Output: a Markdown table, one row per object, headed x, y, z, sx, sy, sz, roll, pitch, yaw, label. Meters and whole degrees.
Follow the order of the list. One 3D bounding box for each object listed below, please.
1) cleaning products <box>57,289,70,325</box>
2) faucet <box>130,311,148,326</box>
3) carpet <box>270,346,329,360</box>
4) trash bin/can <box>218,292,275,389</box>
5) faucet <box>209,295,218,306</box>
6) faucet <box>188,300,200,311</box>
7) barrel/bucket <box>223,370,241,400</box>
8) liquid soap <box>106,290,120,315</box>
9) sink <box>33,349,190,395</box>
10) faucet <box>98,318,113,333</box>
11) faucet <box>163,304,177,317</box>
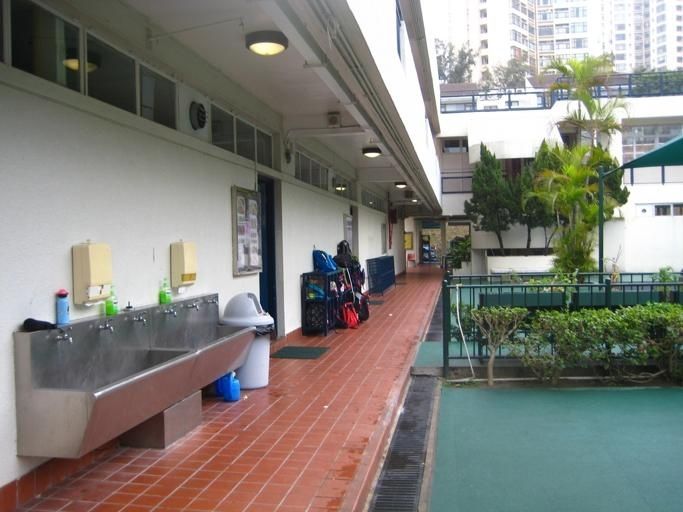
| x | y | z | sx | sy | sz | roll | pitch | yaw | label |
| --- | --- | --- | --- | --- | --- | --- | --- | --- | --- |
| -2.289 | 0.419 | 4.632 | 0.108 | 0.279 | 0.135 | -5 | 9 | -37 | cleaning products |
| -1.927 | 0.608 | 5.404 | 0.040 | 0.152 | 0.200 | 2 | 7 | 16 | faucet |
| -0.635 | 1.440 | 8.411 | 0.781 | 0.048 | 0.810 | 1 | 7 | 9 | carpet |
| -1.103 | 1.001 | 6.787 | 0.568 | 1.128 | 0.670 | 4 | 5 | -1 | trash bin/can |
| -1.492 | 0.513 | 6.591 | 0.024 | 0.096 | 0.095 | -3 | -3 | 25 | faucet |
| -1.613 | 0.564 | 6.184 | 0.071 | 0.114 | 0.214 | 1 | 7 | 7 | faucet |
| -1.226 | 1.467 | 6.379 | 0.212 | 0.321 | 0.172 | -4 | 8 | -29 | barrel/bucket |
| -2.076 | 0.422 | 5.108 | 0.071 | 0.218 | 0.194 | 1 | 7 | 7 | liquid soap |
| -2.058 | 0.957 | 4.948 | 0.806 | 0.305 | 0.715 | 9 | 1 | 3 | sink |
| -2.076 | 0.620 | 4.979 | 0.045 | 0.056 | 0.129 | 2 | 1 | 33 | faucet |
| -1.753 | 0.564 | 5.819 | 0.069 | 0.148 | 0.220 | 1 | 7 | 10 | faucet |
